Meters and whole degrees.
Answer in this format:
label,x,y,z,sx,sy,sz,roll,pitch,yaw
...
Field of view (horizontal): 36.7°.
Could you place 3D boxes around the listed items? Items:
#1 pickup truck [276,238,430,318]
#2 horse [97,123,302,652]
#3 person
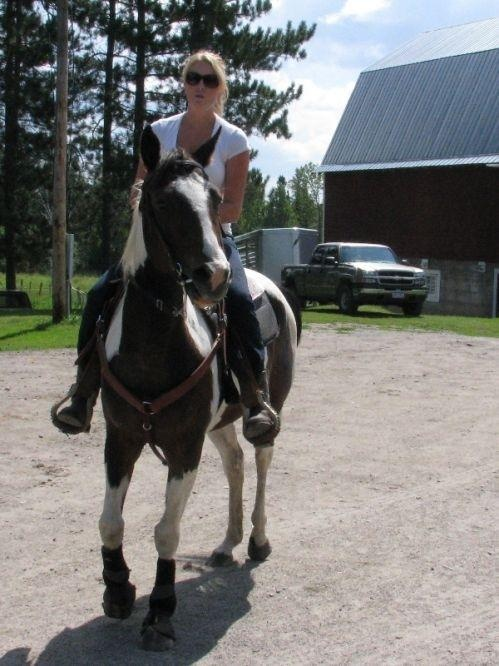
label,x,y,z,sx,sy,sz,roll,pitch,yaw
pickup truck,2.935,-1.622,23.097,2.717,1.738,5.168,-1,3,-29
horse,-0.291,0.282,3.850,0.887,2.404,1.985,1,7,2
person,-0.361,-0.483,4.096,1.278,2.040,0.904,3,0,14
